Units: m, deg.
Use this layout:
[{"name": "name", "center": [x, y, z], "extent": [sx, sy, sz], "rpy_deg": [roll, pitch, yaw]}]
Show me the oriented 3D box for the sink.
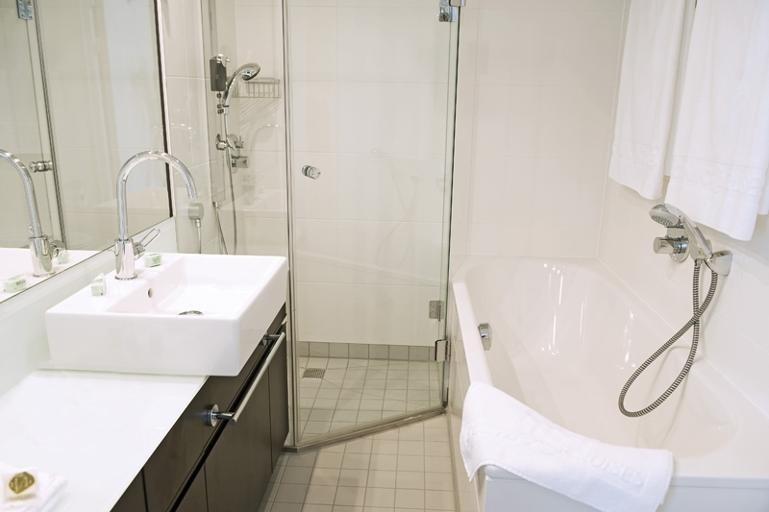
[{"name": "sink", "center": [-0.840, 0.220, 2.193], "extent": [0.726, 0.316, 0.687], "rpy_deg": [-1, 19, 3]}]
